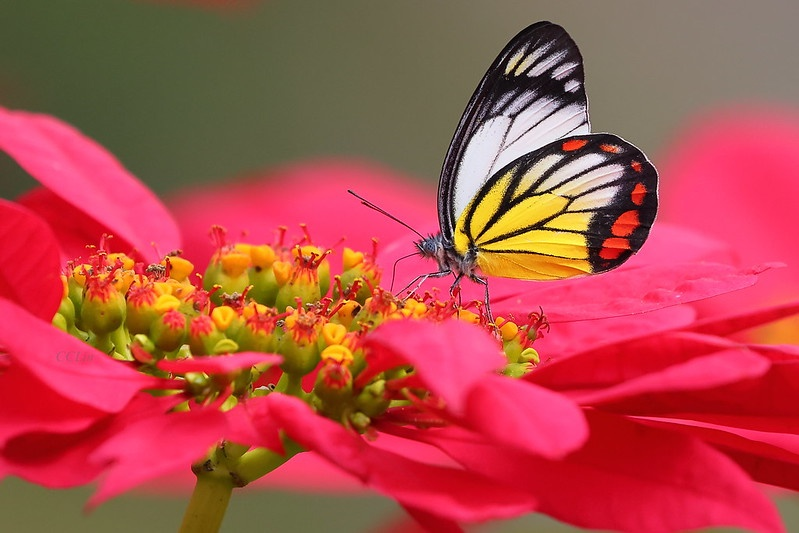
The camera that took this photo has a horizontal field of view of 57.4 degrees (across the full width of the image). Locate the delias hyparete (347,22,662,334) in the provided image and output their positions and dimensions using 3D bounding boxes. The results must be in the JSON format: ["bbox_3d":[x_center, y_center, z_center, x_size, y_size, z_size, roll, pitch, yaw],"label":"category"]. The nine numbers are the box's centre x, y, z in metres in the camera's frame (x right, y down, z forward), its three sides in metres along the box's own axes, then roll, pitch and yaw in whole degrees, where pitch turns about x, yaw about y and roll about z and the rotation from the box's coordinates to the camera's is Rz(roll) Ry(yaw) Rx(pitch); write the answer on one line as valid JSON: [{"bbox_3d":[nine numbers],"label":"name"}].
[{"bbox_3d":[0.127,-0.084,0.999,0.367,0.310,0.376,-2,-11,4],"label":"delias hyparete"}]
